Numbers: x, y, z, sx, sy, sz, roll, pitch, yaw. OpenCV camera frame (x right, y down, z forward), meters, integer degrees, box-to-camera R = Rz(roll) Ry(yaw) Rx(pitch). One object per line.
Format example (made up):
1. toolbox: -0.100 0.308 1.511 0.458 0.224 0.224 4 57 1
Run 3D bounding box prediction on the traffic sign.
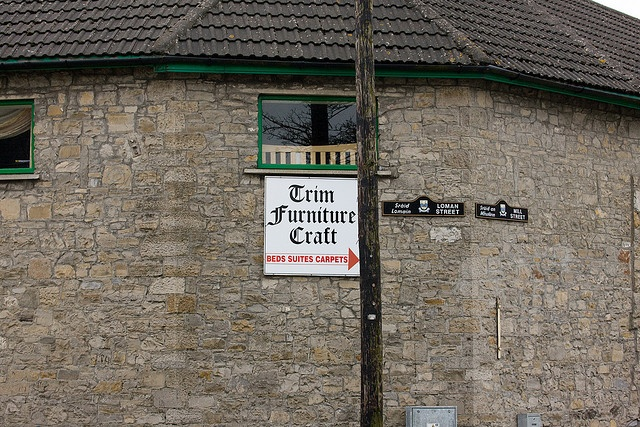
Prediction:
1. traffic sign: -0.158 0.223 17.905 2.121 1.975 0.111 1 3 23
